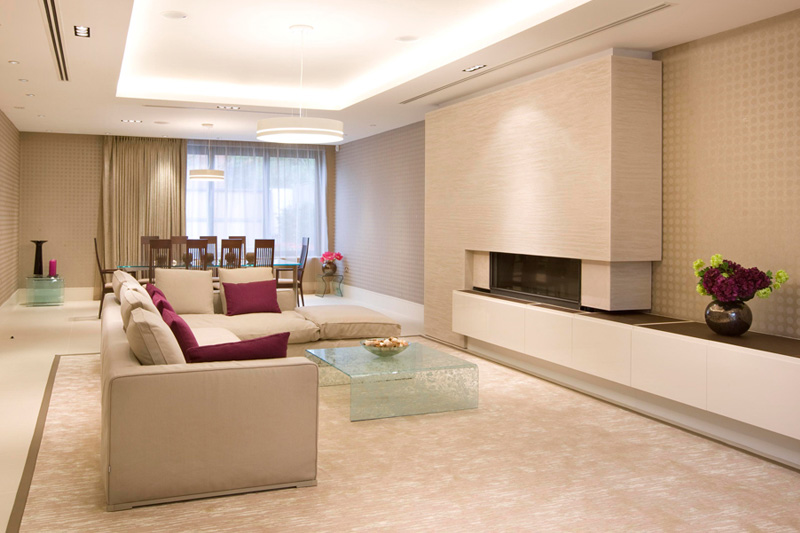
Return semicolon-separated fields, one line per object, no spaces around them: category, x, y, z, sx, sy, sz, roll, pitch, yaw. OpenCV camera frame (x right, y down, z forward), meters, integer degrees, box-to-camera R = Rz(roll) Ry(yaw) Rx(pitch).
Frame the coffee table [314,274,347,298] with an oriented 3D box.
coffee table;-1.578;0.436;11.820;0.589;0.461;0.534;1;0;-22

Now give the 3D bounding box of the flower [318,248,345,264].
flower;-1.504;-0.206;11.596;0.448;0.262;0.299;-4;10;-28

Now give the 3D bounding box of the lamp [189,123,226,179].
lamp;-3.960;-2.208;10.548;0.612;0.870;1.045;-3;9;-21

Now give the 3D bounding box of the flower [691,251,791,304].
flower;2.792;0.105;4.524;0.806;0.410;0.874;-5;8;-35

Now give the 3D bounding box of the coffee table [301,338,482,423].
coffee table;0.053;1.097;4.888;0.957;0.231;0.997;1;3;-23

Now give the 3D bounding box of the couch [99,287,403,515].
couch;-1.367;0.576;3.673;1.062;0.776;2.359;0;2;-20

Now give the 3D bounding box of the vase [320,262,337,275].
vase;-1.556;0.038;11.595;0.307;0.220;0.309;0;-2;-16

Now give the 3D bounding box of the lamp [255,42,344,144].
lamp;-1.201;-2.066;6.110;1.124;1.091;1.032;-1;7;-6

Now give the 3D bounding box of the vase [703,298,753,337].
vase;2.829;0.445;4.432;0.369;0.231;0.339;-1;-5;-16
